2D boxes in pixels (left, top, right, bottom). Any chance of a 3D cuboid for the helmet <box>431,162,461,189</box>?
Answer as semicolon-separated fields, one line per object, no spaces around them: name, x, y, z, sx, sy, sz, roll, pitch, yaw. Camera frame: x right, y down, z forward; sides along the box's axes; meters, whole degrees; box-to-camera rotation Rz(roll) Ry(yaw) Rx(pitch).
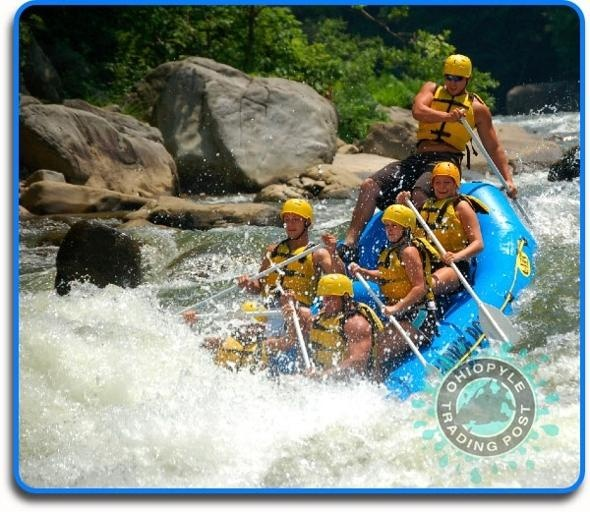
helmet;1.322;-0.716;7.510;0.178;0.255;0.192;5;114;4

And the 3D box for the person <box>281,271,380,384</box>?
person;0.267;0.604;7.259;0.820;0.742;1.191;8;83;-18

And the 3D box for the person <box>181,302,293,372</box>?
person;-0.442;0.662;7.167;0.966;0.587;0.564;-1;71;5

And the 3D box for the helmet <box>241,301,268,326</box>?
helmet;-0.340;0.468;7.260;0.215;0.159;0.172;39;95;-3

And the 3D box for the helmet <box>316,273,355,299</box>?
helmet;0.324;0.253;6.852;0.232;0.173;0.139;14;82;-29

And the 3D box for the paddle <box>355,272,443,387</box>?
paddle;0.850;0.623;6.905;0.142;0.189;0.943;-28;72;-10

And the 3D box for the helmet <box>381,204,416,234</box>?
helmet;0.860;-0.308;7.130;0.190;0.267;0.199;12;102;26

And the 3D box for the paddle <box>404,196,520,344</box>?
paddle;1.397;0.293;7.125;0.183;1.102;1.081;-41;71;16

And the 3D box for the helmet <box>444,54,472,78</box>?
helmet;1.487;-1.734;7.858;0.186;0.197;0.251;6;99;13
